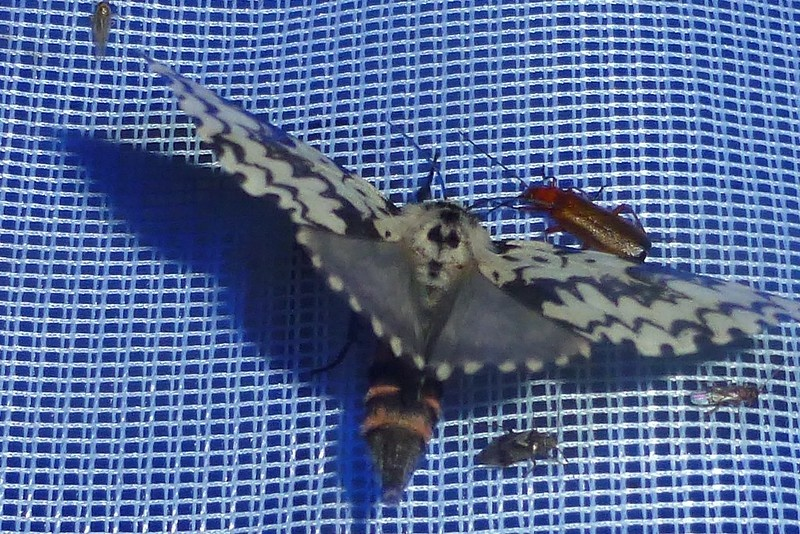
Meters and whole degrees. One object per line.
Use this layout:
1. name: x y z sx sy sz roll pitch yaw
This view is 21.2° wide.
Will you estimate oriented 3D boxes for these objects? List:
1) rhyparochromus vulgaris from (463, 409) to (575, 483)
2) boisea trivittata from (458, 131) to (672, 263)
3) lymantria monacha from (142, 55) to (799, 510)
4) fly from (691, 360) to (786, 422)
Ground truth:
1. rhyparochromus vulgaris: 0.709 1.067 12.564 0.654 0.349 0.322 -6 21 -19
2. boisea trivittata: 1.130 -0.361 12.811 0.755 0.475 0.191 25 42 19
3. lymantria monacha: 0.230 0.075 13.141 2.851 2.951 4.647 2 -3 -10
4. fly: 1.983 0.755 12.650 0.562 0.155 0.271 -5 23 -4
